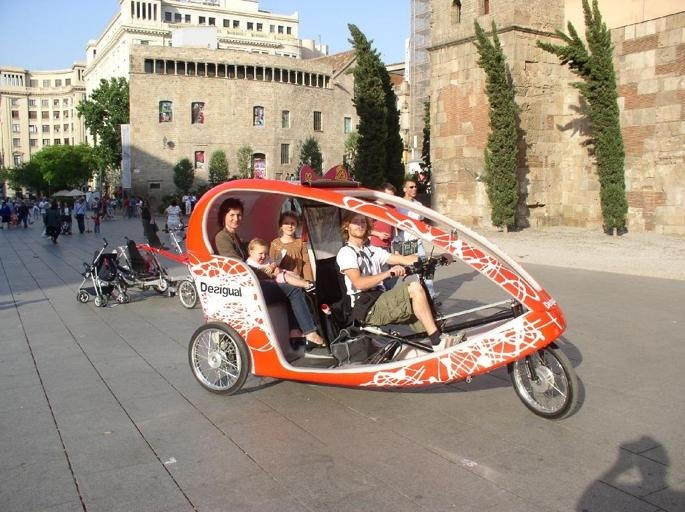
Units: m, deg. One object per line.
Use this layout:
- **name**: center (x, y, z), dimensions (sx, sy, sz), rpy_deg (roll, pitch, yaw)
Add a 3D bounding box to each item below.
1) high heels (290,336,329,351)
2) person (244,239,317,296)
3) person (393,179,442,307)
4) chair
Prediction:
- **high heels**: center (-0.363, 0.940, 6.641), dimensions (0.403, 0.166, 0.150), rpy_deg (0, 1, 12)
- **person**: center (-0.692, 0.135, 6.659), dimensions (0.856, 0.514, 0.425), rpy_deg (11, 28, 17)
- **person**: center (1.194, 0.107, 8.869), dimensions (0.483, 1.599, 0.499), rpy_deg (24, 48, 38)
- **chair**: center (0.420, 0.588, 6.099), dimensions (0.923, 0.954, 0.454), rpy_deg (4, 11, 25)
